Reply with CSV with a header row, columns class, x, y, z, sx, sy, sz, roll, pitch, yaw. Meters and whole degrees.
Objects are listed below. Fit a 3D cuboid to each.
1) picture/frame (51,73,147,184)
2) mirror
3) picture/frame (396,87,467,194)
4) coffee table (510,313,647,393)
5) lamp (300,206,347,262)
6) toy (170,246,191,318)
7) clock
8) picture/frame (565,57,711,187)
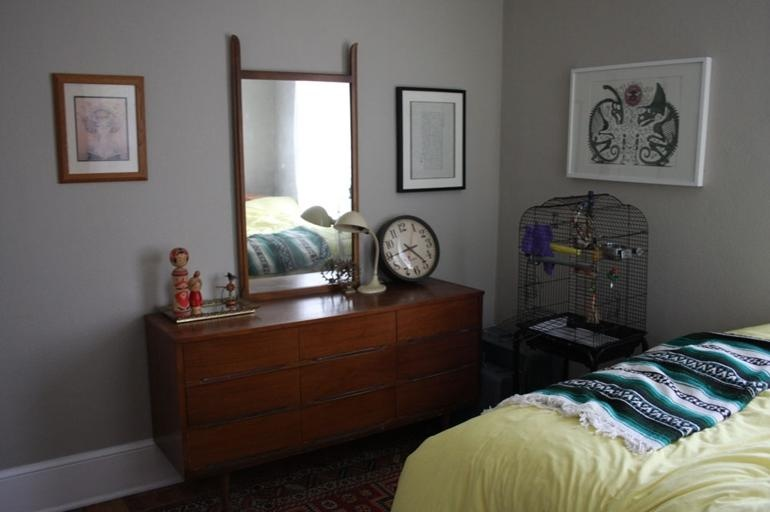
class,x,y,z,sx,sy,sz,roll,pitch,yaw
picture/frame,-1.605,-0.728,3.089,0.576,0.782,0.076,-3,10,-28
mirror,-0.539,-0.559,3.534,0.846,1.598,0.265,-5,11,-15
picture/frame,0.306,-0.847,3.948,0.745,0.913,0.060,-2,3,-34
coffee table,1.172,0.744,3.434,0.502,0.595,0.621,4,1,-27
lamp,-0.420,-0.209,3.800,0.372,0.436,0.200,3,10,-29
toy,-1.173,0.132,3.216,0.111,0.366,0.288,-6,11,-19
clock,0.163,-0.041,3.905,0.458,0.476,0.134,-3,-8,-22
picture/frame,1.602,-0.847,3.460,0.846,0.742,0.069,7,10,42
